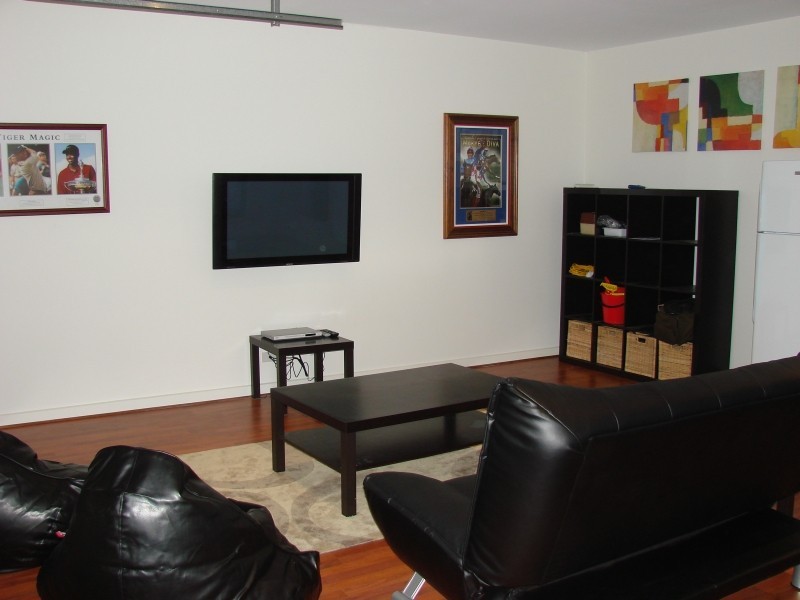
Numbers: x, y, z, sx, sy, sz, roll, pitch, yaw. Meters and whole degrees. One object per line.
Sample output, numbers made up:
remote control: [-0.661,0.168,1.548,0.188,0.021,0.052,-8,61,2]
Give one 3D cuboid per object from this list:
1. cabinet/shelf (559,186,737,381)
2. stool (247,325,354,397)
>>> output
cabinet/shelf: [2.202,-0.159,5.450,0.557,1.932,1.642,0,3,-34]
stool: [-0.807,0.352,4.929,0.637,0.509,0.659,-2,1,-32]
